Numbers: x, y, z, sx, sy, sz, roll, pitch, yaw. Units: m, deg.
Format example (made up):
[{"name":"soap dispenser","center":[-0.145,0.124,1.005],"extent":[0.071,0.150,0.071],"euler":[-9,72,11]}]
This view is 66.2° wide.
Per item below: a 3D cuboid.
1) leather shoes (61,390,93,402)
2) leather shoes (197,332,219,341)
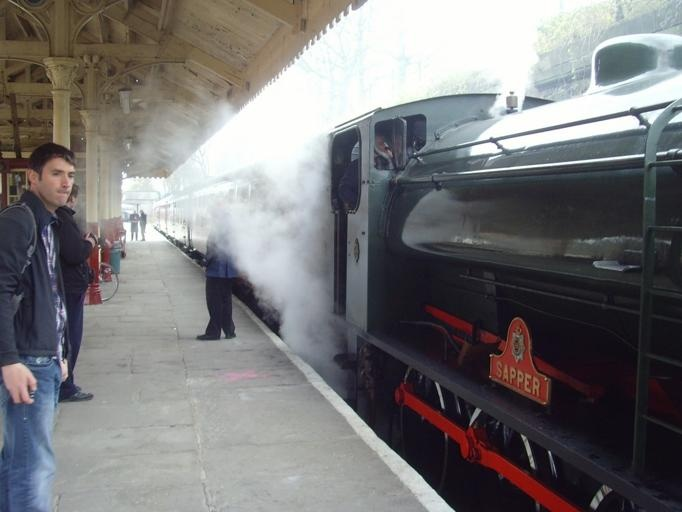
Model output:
[{"name":"leather shoes","center":[-2.491,1.309,4.866],"extent":[0.261,0.119,0.092],"euler":[-6,9,-22]},{"name":"leather shoes","center":[-1.833,1.078,7.101],"extent":[0.272,0.117,0.113],"euler":[4,-4,-4]}]
